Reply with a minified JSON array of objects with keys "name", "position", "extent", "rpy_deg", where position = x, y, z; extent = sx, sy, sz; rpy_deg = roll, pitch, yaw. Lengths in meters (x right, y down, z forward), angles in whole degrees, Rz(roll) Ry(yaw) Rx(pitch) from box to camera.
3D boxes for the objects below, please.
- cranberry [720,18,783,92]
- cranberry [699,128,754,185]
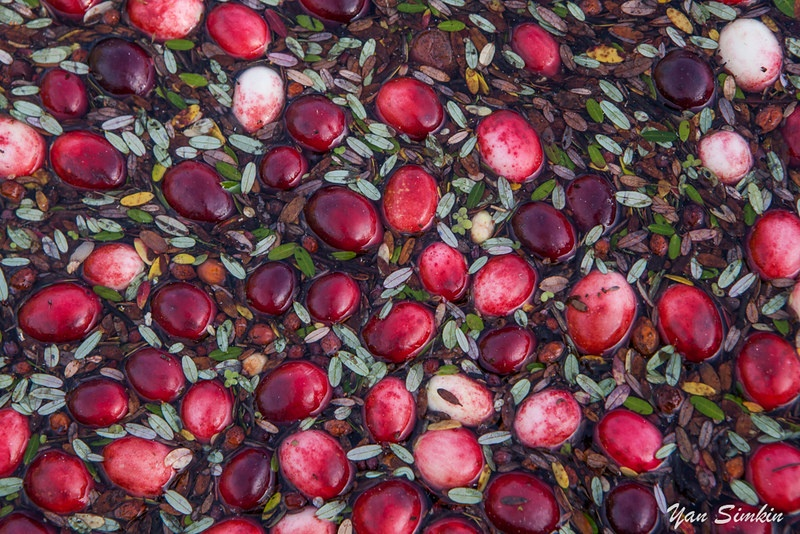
[{"name":"cranberry","position":[0.873,-0.529,2.062],"extent":[0.170,0.138,0.096],"rpy_deg":[32,37,18]},{"name":"cranberry","position":[0.808,-0.274,2.055],"extent":[0.139,0.101,0.071],"rpy_deg":[28,36,12]}]
